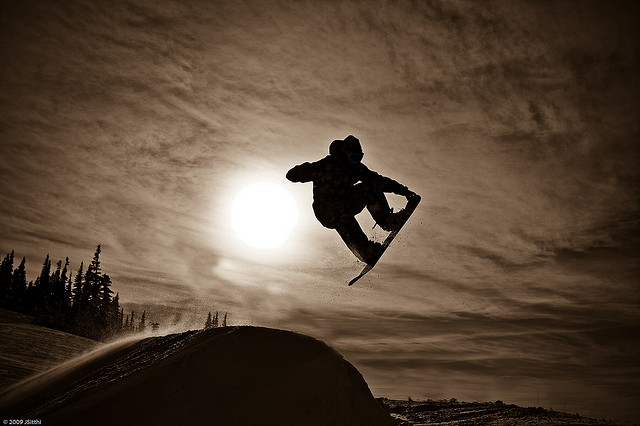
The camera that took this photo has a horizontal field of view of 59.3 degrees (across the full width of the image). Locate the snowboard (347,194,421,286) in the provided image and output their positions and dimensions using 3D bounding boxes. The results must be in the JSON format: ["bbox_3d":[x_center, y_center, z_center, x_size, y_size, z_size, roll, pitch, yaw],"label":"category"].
[{"bbox_3d":[1.688,0.302,17.283,0.447,3.812,0.457,43,-1,-11],"label":"snowboard"}]
